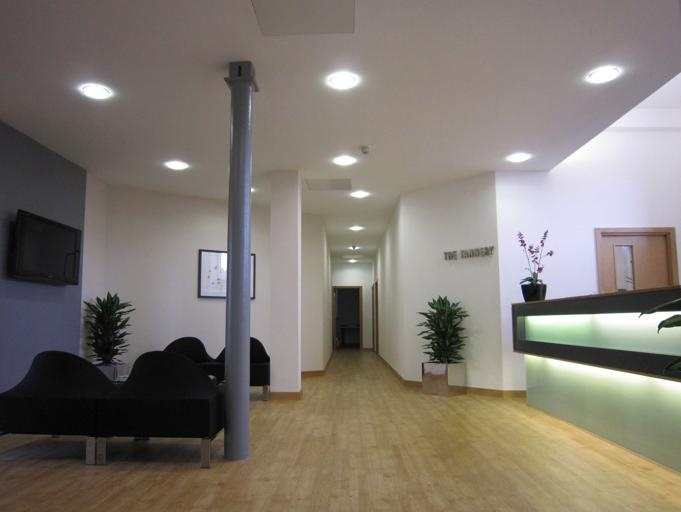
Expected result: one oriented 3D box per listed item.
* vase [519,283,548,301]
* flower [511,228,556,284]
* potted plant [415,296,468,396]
[{"bbox_3d":[2.446,0.454,5.872,0.219,0.197,0.233,0,-7,1],"label":"vase"},{"bbox_3d":[2.753,-0.012,6.525,0.529,0.763,0.317,-1,-3,10],"label":"flower"},{"bbox_3d":[1.521,1.296,6.830,0.636,1.342,0.458,2,-4,-32],"label":"potted plant"}]
